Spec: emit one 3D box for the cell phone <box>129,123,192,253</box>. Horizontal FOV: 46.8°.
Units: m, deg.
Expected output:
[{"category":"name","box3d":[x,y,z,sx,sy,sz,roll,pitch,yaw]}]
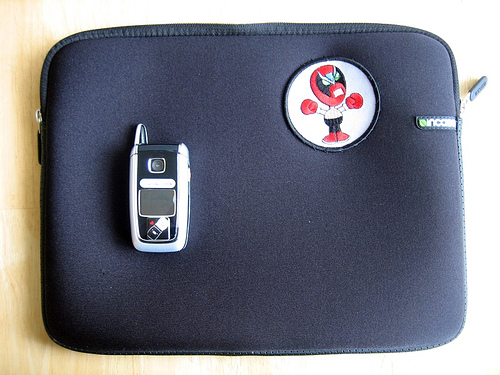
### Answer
[{"category":"cell phone","box3d":[-0.176,0.004,1.066,0.093,0.228,0.054,-1,-1,1]}]
